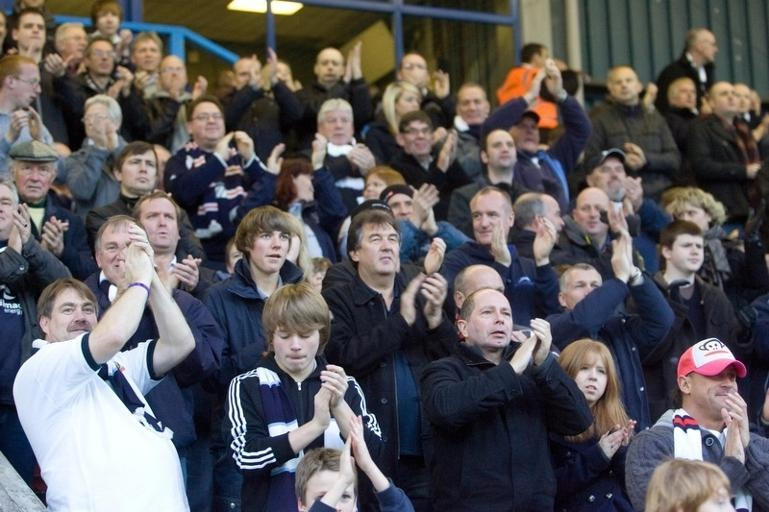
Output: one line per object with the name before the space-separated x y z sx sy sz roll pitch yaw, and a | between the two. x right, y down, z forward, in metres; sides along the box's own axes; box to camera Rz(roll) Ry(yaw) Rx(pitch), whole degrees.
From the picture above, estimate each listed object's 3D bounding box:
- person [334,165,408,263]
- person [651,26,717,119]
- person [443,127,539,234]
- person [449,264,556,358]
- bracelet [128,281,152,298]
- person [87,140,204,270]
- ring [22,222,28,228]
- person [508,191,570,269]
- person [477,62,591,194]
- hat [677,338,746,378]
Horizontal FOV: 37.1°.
person | -0.152 -0.436 10.989 0.621 0.871 0.301 4 -25 -6
person | 3.751 -2.005 14.585 0.858 1.623 1.617 3 17 13
person | 1.205 -0.750 11.449 1.230 1.072 0.637 -3 -7 -11
person | 0.867 0.492 9.155 0.521 0.895 0.389 -18 -10 -9
bracelet | -1.663 0.225 7.787 0.137 0.085 0.120 -1 -4 -15
person | -2.109 -0.413 10.041 1.029 1.539 0.816 -3 -10 -25
ring | -2.883 -0.244 9.216 0.042 0.036 0.045 3 -3 0
person | 1.434 -0.343 10.773 0.558 0.736 0.886 -7 7 -12
person | 1.840 -1.727 14.353 0.599 1.749 0.541 -4 25 -12
hat | 2.445 0.782 8.542 0.293 0.214 0.390 5 -18 -31
